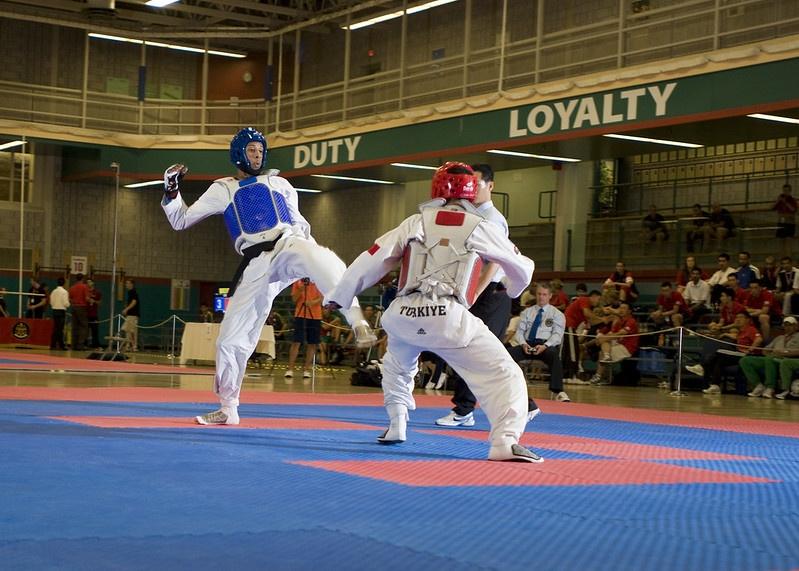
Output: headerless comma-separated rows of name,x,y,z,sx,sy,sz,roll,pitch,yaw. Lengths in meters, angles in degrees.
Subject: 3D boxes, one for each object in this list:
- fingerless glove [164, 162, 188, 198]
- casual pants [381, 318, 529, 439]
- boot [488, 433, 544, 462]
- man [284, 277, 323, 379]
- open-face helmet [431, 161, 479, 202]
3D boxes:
fingerless glove,-2.034,-0.943,7.011,0.157,0.344,0.511,2,0,-17
casual pants,0.350,0.692,5.637,0.492,0.663,1.081,1,1,-44
boot,0.810,1.145,5.367,0.403,0.099,0.173,0,-2,-3
man,-1.746,0.686,14.145,0.844,1.828,0.726,6,-13,-32
open-face helmet,0.429,-0.767,5.888,0.332,0.270,0.399,3,0,-38
